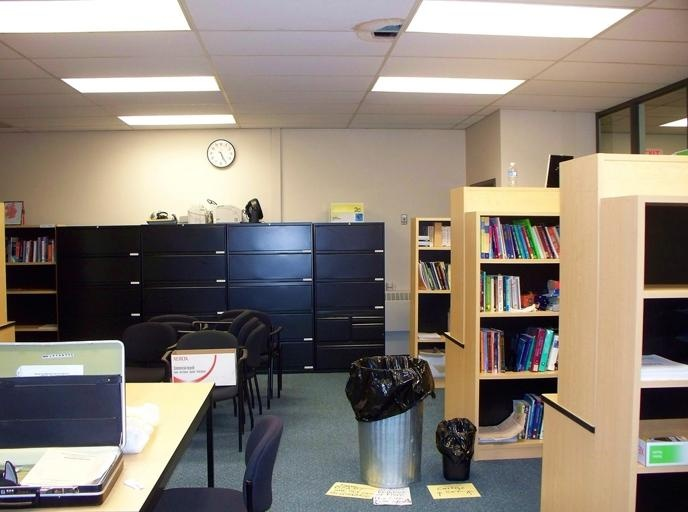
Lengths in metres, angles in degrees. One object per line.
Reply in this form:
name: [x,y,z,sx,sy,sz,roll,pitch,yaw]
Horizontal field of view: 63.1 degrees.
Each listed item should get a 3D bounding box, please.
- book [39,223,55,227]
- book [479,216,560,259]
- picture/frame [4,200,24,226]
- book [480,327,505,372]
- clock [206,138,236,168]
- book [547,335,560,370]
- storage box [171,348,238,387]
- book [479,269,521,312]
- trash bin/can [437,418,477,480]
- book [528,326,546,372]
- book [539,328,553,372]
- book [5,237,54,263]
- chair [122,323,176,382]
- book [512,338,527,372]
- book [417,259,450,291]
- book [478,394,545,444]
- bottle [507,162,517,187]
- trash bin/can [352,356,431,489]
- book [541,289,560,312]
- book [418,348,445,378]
book: [-3.653,-0.371,6.869,0.142,0.033,0.130,0,-3,-31]
book: [1.428,-0.148,4.600,0.699,0.369,0.187,-4,8,-6]
picture/frame: [-4.247,-0.551,7.185,0.219,0.282,0.241,-6,8,-19]
book: [1.201,0.780,4.550,0.197,0.339,0.086,-3,8,0]
clock: [-1.646,-1.376,7.425,0.380,0.387,0.042,-1,5,2]
book: [1.688,0.792,4.526,0.078,0.296,0.027,-3,8,-3]
storage box: [-1.040,0.839,4.203,0.454,0.270,0.253,-1,7,-4]
book: [1.263,0.295,4.541,0.331,0.330,0.176,-1,1,-2]
trash bin/can: [0.841,1.504,4.382,0.388,0.519,0.366,0,-5,0]
book: [1.576,0.775,4.551,0.064,0.276,0.265,6,-2,2]
book: [1.641,0.770,4.531,0.059,0.256,0.256,9,0,16]
book: [-3.901,-0.056,6.954,0.549,0.409,0.318,-1,3,6]
chair: [-1.806,0.881,5.214,0.510,0.667,0.560,0,-7,-5]
book: [1.448,0.807,4.625,0.052,0.218,0.215,5,0,3]
book: [0.971,0.266,6.401,0.476,0.465,0.275,1,-8,-3]
book: [1.379,1.387,4.686,0.488,0.305,0.474,-2,-2,0]
bottle: [1.436,-0.689,4.763,0.058,0.197,0.388,0,8,19]
trash bin/can: [0.295,1.280,4.549,0.754,0.945,0.842,-1,-2,33]
book: [1.698,0.374,4.594,0.158,0.215,0.226,1,0,-2]
book: [1.008,1.210,6.291,0.316,0.313,0.315,1,-10,-2]
